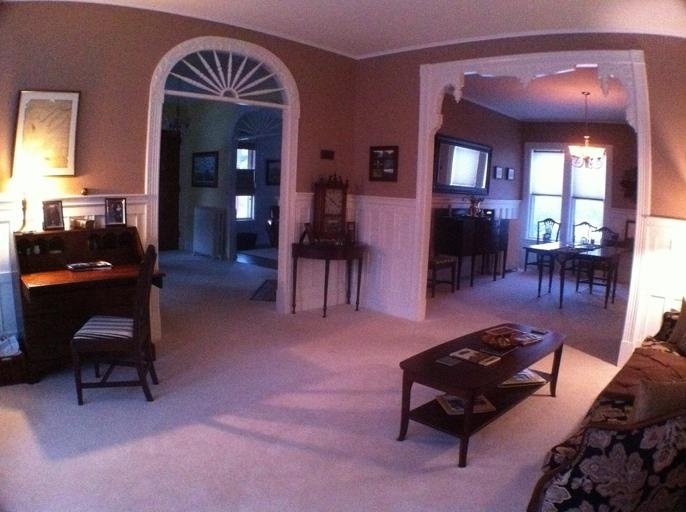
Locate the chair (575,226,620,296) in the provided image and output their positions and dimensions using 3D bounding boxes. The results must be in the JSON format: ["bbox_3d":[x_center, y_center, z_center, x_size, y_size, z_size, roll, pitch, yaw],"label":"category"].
[{"bbox_3d":[4.171,0.111,7.842,0.799,1.071,0.786,-7,8,-23],"label":"chair"}]

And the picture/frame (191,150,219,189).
[{"bbox_3d":[-2.949,-1.878,10.332,0.850,0.874,0.061,6,4,39],"label":"picture/frame"}]

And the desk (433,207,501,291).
[{"bbox_3d":[2.441,-0.194,8.956,1.632,1.384,0.500,-6,10,-43],"label":"desk"}]

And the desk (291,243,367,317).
[{"bbox_3d":[-0.152,0.279,6.480,1.108,0.967,0.540,-7,15,-36],"label":"desk"}]

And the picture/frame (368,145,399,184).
[{"bbox_3d":[0.554,-1.244,6.483,0.505,0.519,0.034,7,8,41],"label":"picture/frame"}]

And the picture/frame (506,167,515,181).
[{"bbox_3d":[3.540,-1.756,10.222,0.032,0.228,0.322,2,4,36],"label":"picture/frame"}]

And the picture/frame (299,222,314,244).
[{"bbox_3d":[-0.486,-0.305,6.328,0.192,0.273,0.262,1,12,-6],"label":"picture/frame"}]

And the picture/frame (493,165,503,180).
[{"bbox_3d":[3.153,-1.711,9.835,0.101,0.300,0.310,3,5,40],"label":"picture/frame"}]

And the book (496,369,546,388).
[{"bbox_3d":[1.432,1.000,3.906,0.318,0.068,0.326,0,6,37],"label":"book"}]

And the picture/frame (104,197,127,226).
[{"bbox_3d":[-2.281,-0.445,4.792,0.276,0.368,0.040,-1,5,-37],"label":"picture/frame"}]

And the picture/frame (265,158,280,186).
[{"bbox_3d":[-1.723,-2.018,11.653,0.364,0.632,0.057,5,12,16],"label":"picture/frame"}]

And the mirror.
[{"bbox_3d":[2.141,-1.687,8.750,1.346,0.772,0.098,-7,12,-42],"label":"mirror"}]

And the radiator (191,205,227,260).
[{"bbox_3d":[-2.809,-0.487,10.123,0.907,1.011,0.330,7,5,44],"label":"radiator"}]

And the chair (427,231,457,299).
[{"bbox_3d":[1.681,0.146,8.137,0.486,0.906,1.548,5,13,13],"label":"chair"}]

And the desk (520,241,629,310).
[{"bbox_3d":[3.736,0.074,7.732,1.386,0.841,1.370,-5,14,-30],"label":"desk"}]

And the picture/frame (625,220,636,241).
[{"bbox_3d":[5.404,-0.504,9.090,0.140,0.347,0.572,8,14,27],"label":"picture/frame"}]

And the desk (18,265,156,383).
[{"bbox_3d":[-2.454,0.514,4.586,1.402,1.052,0.920,-6,12,-40],"label":"desk"}]

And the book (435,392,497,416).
[{"bbox_3d":[0.905,1.102,3.562,0.259,0.045,0.268,-1,7,-15],"label":"book"}]
